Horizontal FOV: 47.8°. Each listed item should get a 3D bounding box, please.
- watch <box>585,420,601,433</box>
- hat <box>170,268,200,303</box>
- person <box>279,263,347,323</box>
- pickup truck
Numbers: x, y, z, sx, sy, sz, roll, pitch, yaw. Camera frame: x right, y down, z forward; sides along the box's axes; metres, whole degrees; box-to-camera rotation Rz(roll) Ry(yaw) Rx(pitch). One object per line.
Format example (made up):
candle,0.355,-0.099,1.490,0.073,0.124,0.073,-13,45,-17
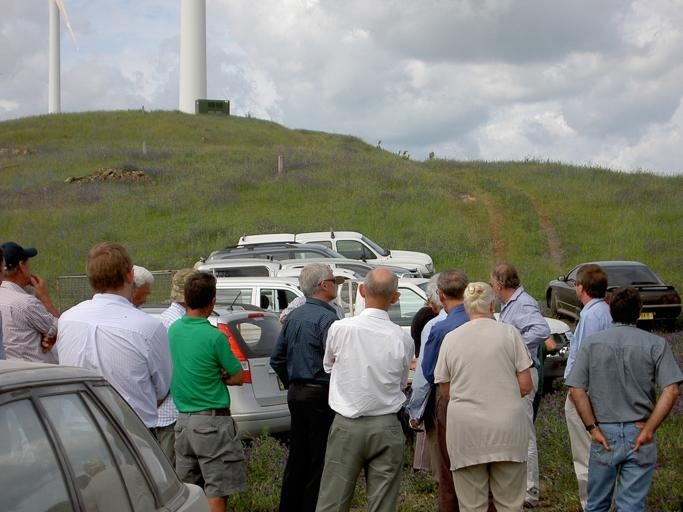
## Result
watch,2.280,1.539,6.981,0.104,0.076,0.097,-20,-1,-27
hat,-1.556,0.231,7.532,0.227,0.362,0.282,5,-17,17
person,-0.394,0.552,9.212,0.887,0.573,0.573,0,5,3
pickup truck,2.092,1.038,12.665,2.952,1.795,1.870,-4,3,10
